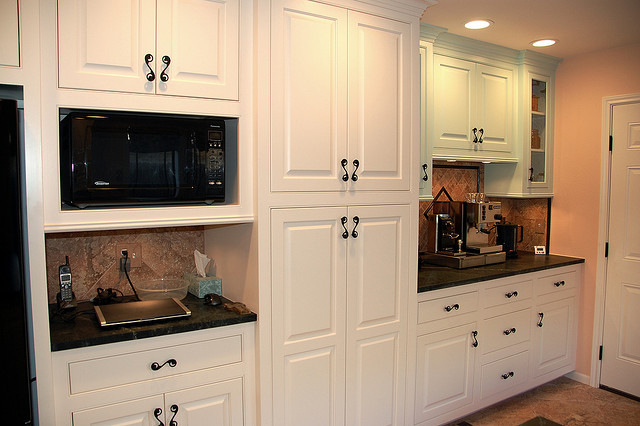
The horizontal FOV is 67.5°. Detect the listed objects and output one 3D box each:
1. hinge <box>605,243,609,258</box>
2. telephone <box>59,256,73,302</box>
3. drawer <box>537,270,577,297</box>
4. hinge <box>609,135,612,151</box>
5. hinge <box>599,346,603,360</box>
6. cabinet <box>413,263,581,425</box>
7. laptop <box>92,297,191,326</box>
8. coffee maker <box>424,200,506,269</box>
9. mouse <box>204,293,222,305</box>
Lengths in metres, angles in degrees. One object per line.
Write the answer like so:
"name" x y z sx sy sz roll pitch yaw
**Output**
"hinge" 2.573 0.340 4.295 0.029 0.122 0.019 1 7 22
"telephone" -1.570 0.437 2.944 0.065 0.217 0.066 -5 8 -24
"drawer" 2.066 0.624 4.209 0.343 0.153 0.208 -2 0 -29
"hinge" 2.577 -0.598 4.245 0.023 0.125 0.012 2 8 31
"hinge" 2.543 1.265 4.336 0.024 0.120 0.013 0 7 18
"cabinet" 1.366 1.012 3.803 1.648 1.037 0.684 -1 5 -37
"laptop" -1.069 0.587 2.871 0.530 0.054 0.297 -4 7 -20
"coffee maker" 1.228 0.186 4.076 0.661 0.522 0.494 0 7 17
"mouse" -0.690 0.551 3.072 0.110 0.060 0.114 -3 7 -8
